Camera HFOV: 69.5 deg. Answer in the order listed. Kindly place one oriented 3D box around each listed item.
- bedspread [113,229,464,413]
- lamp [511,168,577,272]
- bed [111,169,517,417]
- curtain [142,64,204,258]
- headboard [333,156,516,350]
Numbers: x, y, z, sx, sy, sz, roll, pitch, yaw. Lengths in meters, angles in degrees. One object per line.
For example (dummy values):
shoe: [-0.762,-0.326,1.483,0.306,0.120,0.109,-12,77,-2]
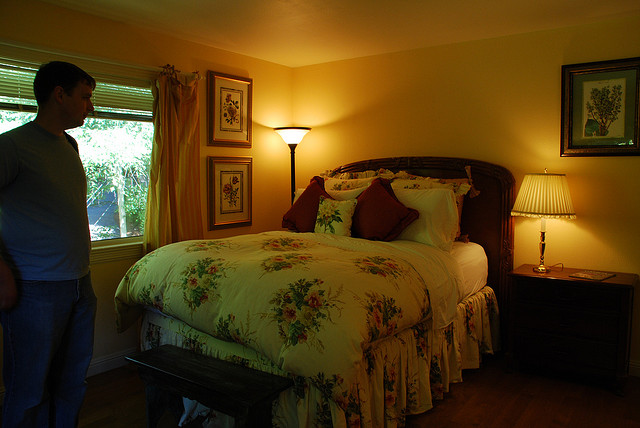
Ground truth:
bedspread: [-0.294,0.598,4.321,2.302,1.078,2.821,3,3,37]
lamp: [2.157,0.086,4.431,0.579,0.962,0.567,-3,6,-31]
bed: [0.341,0.554,4.103,2.210,1.568,2.779,1,-2,43]
curtain: [-1.498,-0.522,4.700,0.310,1.781,0.833,6,14,28]
headboard: [0.989,0.402,4.076,1.812,1.872,0.093,-1,-4,38]
